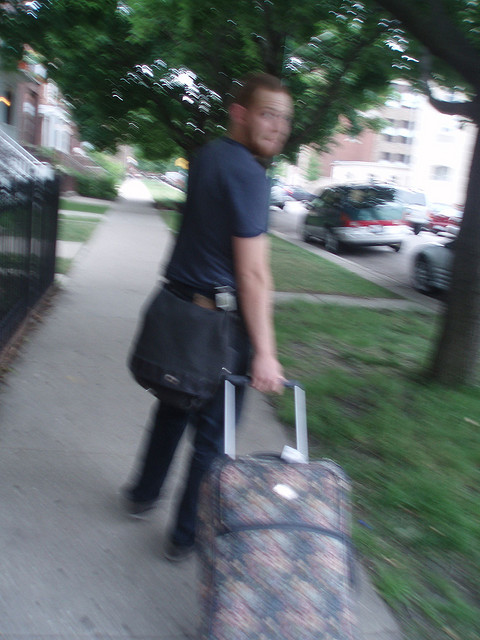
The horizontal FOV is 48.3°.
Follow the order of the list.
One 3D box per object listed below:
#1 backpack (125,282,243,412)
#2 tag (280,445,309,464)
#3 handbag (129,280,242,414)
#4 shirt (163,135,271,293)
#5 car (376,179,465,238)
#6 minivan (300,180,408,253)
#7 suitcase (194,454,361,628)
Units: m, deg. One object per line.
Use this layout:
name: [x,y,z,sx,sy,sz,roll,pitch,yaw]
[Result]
backpack: [-0.164,0.076,1.869,0.379,0.436,0.272,10,4,38]
tag: [0.157,0.379,1.508,0.052,0.043,0.014,3,-20,-17]
handbag: [-0.178,0.056,1.855,0.335,0.422,0.245,16,17,15]
shirt: [-0.059,-0.343,1.753,0.201,0.489,0.382,-3,18,-35]
car: [7.796,-4.204,22.814,3.875,1.762,1.976,-9,6,-30]
minivan: [3.631,-3.581,18.180,2.253,1.497,3.295,-3,21,-13]
suitcase: [0.082,0.578,1.400,0.392,0.383,0.433,5,14,-5]
